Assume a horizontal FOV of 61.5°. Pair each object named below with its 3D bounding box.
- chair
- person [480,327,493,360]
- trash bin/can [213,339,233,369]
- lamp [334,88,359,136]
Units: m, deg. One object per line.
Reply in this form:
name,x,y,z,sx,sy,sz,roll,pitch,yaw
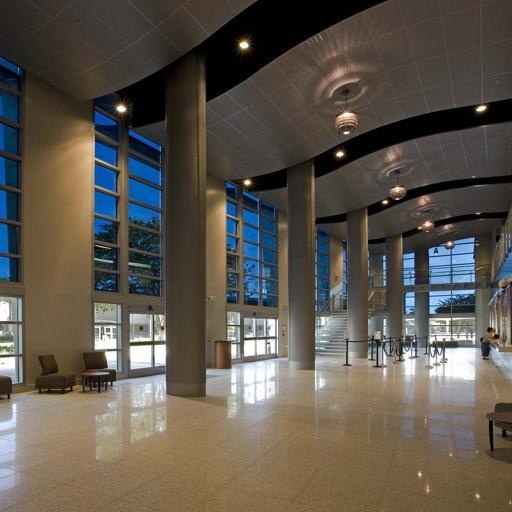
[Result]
chair,-4.541,2.764,10.227,1.306,0.913,2.616,-10,-14,43
person,11.174,4.218,20.829,0.565,1.488,3.839,-5,-11,28
trash bin/can,-1.210,3.637,15.771,0.728,1.091,0.743,3,-18,-15
lamp,2.233,-3.531,10.687,0.405,1.181,0.420,-10,-16,44
